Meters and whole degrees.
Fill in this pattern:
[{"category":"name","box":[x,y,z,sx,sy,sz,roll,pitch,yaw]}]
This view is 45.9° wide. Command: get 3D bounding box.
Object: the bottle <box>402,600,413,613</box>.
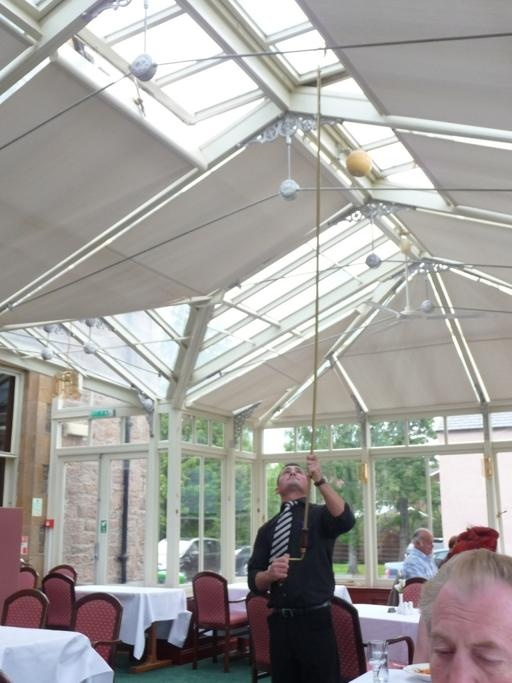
[{"category":"bottle","box":[1.222,2.143,4.881,0.062,0.090,0.094,-19,-37,25]}]
